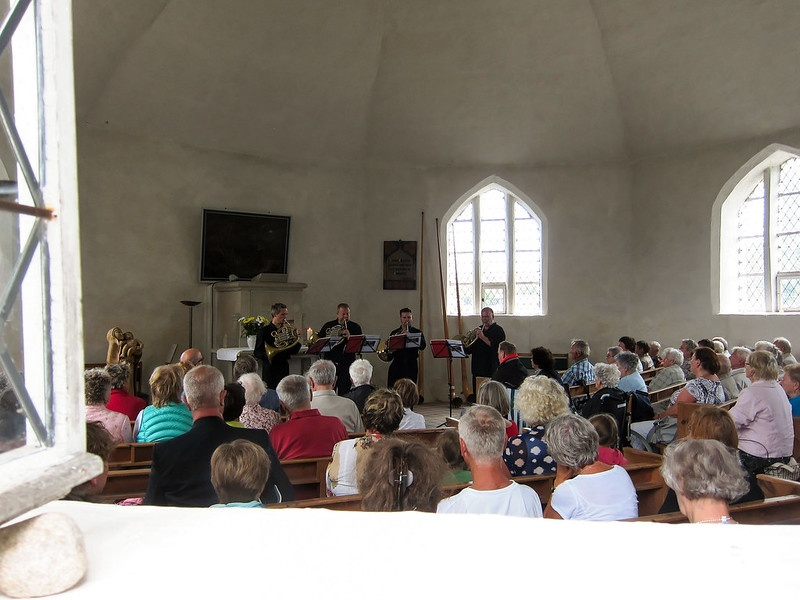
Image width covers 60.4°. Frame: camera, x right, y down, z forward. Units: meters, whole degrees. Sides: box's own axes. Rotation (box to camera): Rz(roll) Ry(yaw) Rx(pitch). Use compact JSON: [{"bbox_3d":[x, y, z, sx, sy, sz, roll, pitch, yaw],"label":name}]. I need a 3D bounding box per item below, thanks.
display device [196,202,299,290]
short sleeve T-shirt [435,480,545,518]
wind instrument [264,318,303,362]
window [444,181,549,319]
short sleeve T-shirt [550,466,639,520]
[{"bbox_3d":[-2.106,-0.732,9.136,1.118,1.002,0.122,3,-4,-28],"label":"display device"},{"bbox_3d":[0.312,0.709,2.417,0.389,0.124,0.108,1,0,-8],"label":"short sleeve T-shirt"},{"bbox_3d":[-1.210,0.402,7.012,0.380,0.328,0.221,-7,-5,-4],"label":"wind instrument"},{"bbox_3d":[1.487,-0.780,10.559,1.863,2.810,0.176,0,-2,1],"label":"window"},{"bbox_3d":[0.758,0.750,2.656,0.333,0.206,0.248,1,0,-2],"label":"short sleeve T-shirt"}]
